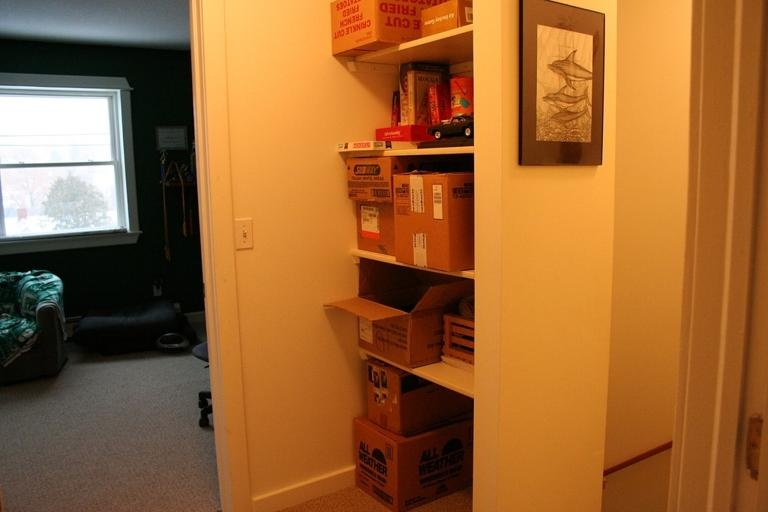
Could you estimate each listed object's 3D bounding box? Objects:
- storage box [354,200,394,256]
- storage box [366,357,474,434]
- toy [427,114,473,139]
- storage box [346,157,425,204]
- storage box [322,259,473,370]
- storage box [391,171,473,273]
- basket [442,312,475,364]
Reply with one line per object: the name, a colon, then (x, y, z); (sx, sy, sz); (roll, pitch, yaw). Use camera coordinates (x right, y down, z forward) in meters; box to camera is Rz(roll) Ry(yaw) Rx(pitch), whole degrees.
storage box: (-0.046, -0.148, 3.249); (0.077, 0.200, 0.238); (-10, 28, -30)
storage box: (0.165, 0.647, 3.368); (0.521, 0.275, 0.381); (-1, 7, -39)
toy: (0.336, -0.597, 2.906); (0.138, 0.111, 0.317); (-6, 14, -25)
storage box: (-0.054, -0.399, 3.163); (0.288, 0.274, 0.180); (3, 6, 18)
storage box: (0.123, 0.301, 3.308); (0.624, 0.406, 0.594); (-4, 7, -39)
storage box: (0.266, -0.180, 3.002); (0.265, 0.435, 0.478); (-7, 8, -33)
basket: (0.365, 0.408, 3.059); (0.050, 0.223, 0.197); (-8, 14, -32)
